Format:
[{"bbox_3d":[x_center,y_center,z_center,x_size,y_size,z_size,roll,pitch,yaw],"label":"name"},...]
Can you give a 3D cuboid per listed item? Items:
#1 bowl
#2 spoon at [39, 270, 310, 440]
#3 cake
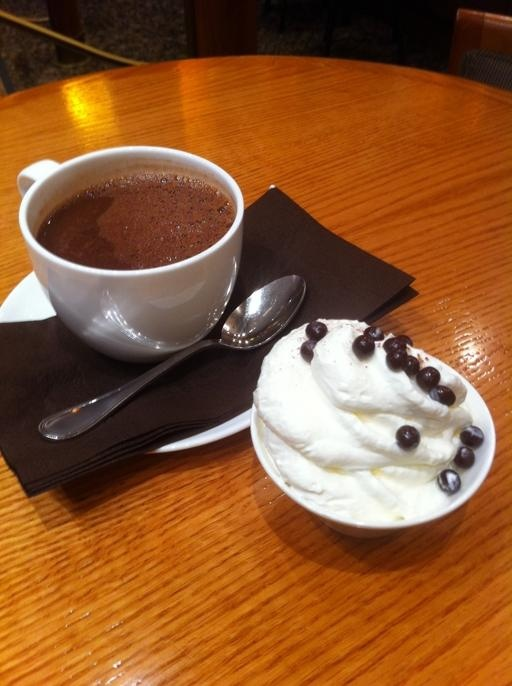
[{"bbox_3d":[0.116,0.114,0.563,0.225,0.134,0.153,-7,40,-7],"label":"bowl"},{"bbox_3d":[-0.029,-0.003,0.779,0.105,0.065,0.493,34,47,29],"label":"spoon"},{"bbox_3d":[0.101,0.103,0.636,0.190,0.115,0.201,-40,61,-18],"label":"cake"}]
